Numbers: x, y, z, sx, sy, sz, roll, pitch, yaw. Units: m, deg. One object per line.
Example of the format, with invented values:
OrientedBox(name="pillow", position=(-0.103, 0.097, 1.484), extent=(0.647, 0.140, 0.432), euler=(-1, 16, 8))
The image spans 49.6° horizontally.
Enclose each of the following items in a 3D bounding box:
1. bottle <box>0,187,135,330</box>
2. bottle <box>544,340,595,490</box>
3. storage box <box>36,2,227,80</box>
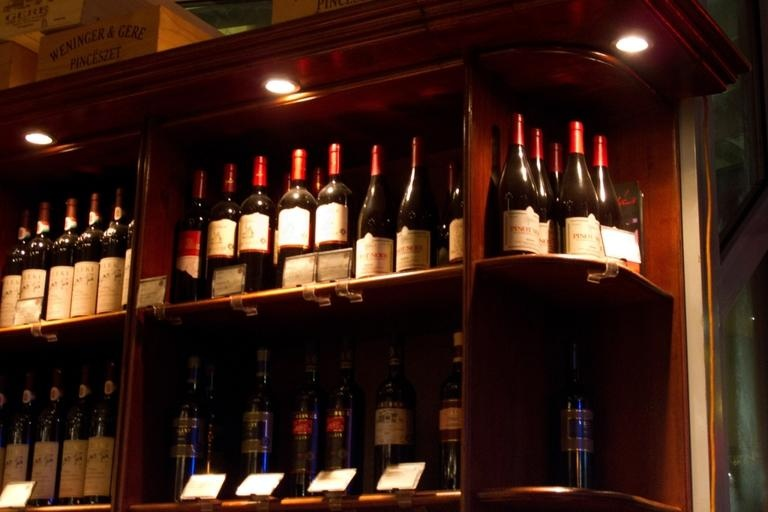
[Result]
OrientedBox(name="bottle", position=(-1.297, 0.022, 3.405), extent=(0.461, 0.644, 0.168), euler=(-10, -22, 27))
OrientedBox(name="bottle", position=(0.636, 0.530, 2.831), extent=(0.160, 0.502, 0.178), euler=(-1, -19, 6))
OrientedBox(name="storage box", position=(-1.043, -0.822, 3.144), extent=(0.429, 0.108, 0.396), euler=(-4, 2, 29))
